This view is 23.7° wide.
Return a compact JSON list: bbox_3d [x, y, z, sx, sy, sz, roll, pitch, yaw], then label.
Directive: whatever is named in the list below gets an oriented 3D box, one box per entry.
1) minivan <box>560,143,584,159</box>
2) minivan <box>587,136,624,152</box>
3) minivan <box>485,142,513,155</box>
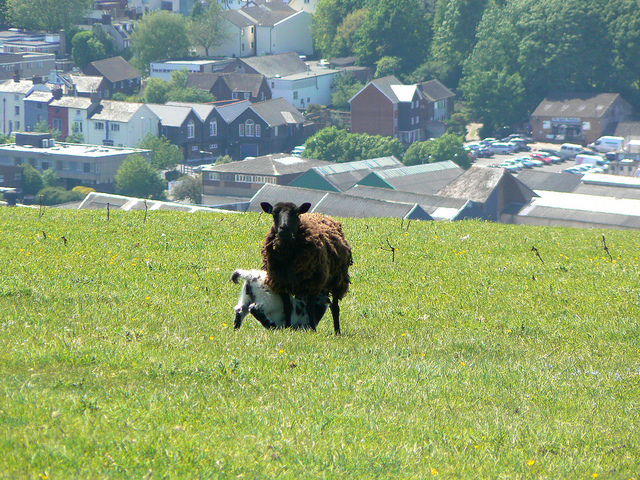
[{"bbox_3d":[51.839,-18.242,313.885,3.633,2.373,2.689,4,12,31],"label":"minivan"},{"bbox_3d":[59.038,-19.608,313.162,6.796,3.508,2.278,13,13,34],"label":"minivan"},{"bbox_3d":[37.684,-19.112,318.979,4.320,1.667,2.483,8,11,24],"label":"minivan"}]
